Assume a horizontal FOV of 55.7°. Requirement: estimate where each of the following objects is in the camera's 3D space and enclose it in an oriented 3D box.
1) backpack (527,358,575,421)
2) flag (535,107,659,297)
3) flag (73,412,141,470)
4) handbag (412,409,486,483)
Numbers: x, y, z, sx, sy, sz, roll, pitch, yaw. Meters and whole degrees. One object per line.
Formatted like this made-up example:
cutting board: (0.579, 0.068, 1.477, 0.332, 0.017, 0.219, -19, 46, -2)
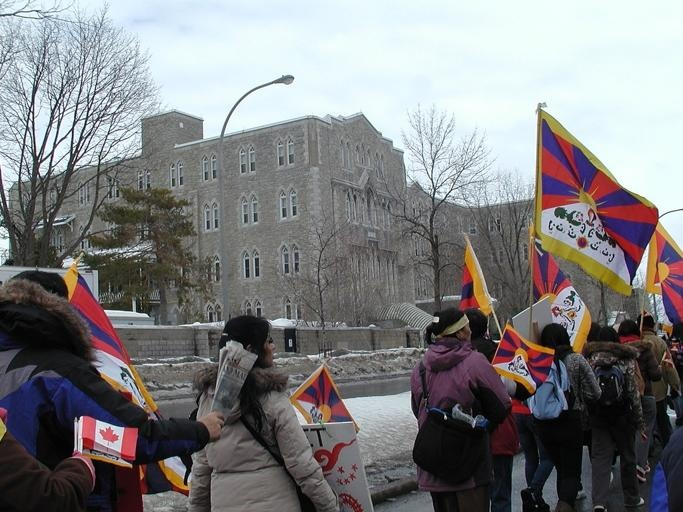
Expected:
backpack: (2.146, 1.382, 6.664, 0.420, 0.571, 0.311, -3, -5, 14)
flag: (3.314, -0.495, 8.747, 2.035, 2.933, 0.280, 7, -9, -24)
flag: (-1.158, 0.921, 3.185, 0.262, 0.280, 0.086, 16, -47, -24)
handbag: (0.894, 1.557, 5.509, 0.604, 0.729, 0.553, 11, -16, 10)
